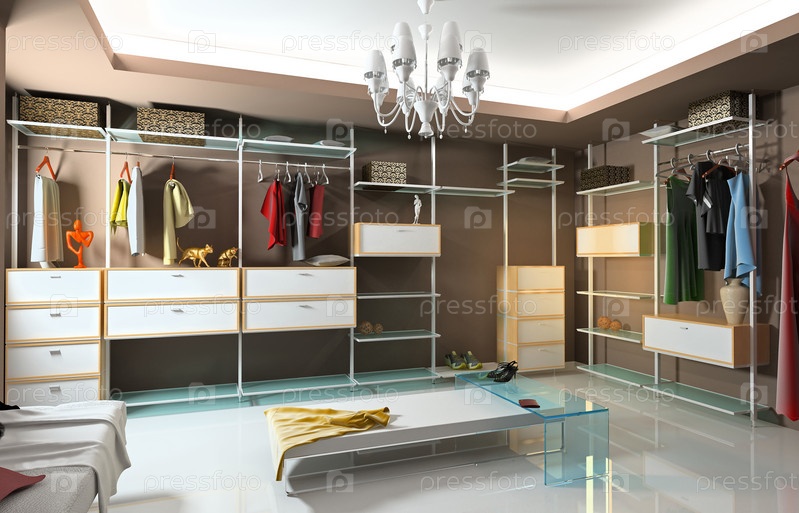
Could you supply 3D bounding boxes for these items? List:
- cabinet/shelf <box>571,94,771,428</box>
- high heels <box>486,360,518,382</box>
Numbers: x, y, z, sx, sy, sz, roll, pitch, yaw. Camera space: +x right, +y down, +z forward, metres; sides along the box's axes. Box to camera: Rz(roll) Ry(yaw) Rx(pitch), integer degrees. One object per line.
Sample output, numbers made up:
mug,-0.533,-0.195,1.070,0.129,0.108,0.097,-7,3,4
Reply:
cabinet/shelf,3.040,-0.046,6.161,0.982,3.304,2.251,-7,15,-26
high heels,1.127,1.171,5.759,0.427,0.167,0.151,-1,-6,-19
